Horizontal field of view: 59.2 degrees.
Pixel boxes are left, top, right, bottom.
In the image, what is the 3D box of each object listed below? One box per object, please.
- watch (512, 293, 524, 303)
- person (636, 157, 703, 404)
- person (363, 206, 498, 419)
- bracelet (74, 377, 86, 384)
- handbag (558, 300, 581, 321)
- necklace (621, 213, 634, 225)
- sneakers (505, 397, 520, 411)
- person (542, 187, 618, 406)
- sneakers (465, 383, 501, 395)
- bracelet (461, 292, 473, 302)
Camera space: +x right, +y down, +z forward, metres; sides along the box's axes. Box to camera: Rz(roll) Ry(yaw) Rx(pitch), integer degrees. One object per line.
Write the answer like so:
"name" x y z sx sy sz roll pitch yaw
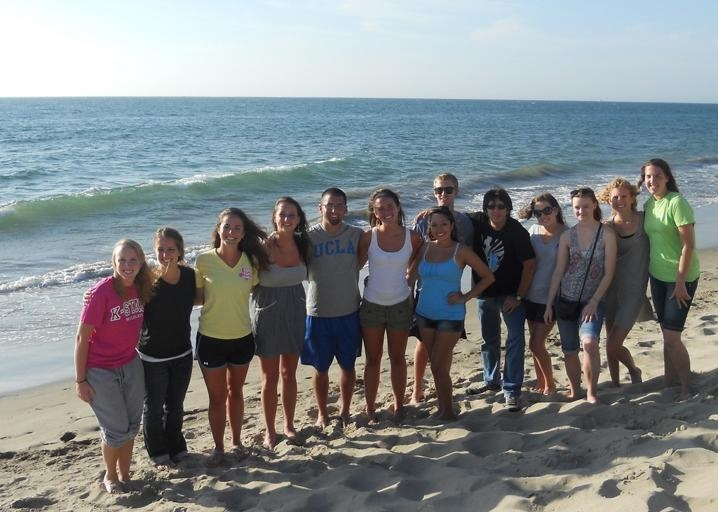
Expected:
"watch" 1.775 0.463 6.978 0.085 0.070 0.042 -4 10 13
"person" 3.320 0.210 6.637 0.464 2.455 0.616 -6 10 6
"person" 0.995 0.614 6.752 0.750 2.273 0.488 -6 10 10
"bracelet" -2.562 1.133 5.796 0.108 0.060 0.051 -4 10 14
"handbag" 2.265 0.574 6.734 0.233 0.221 0.124 1 6 23
"necklace" 2.904 -0.400 6.804 0.117 0.108 0.102 -27 8 37
"sneakers" 1.692 1.614 6.899 0.137 0.119 0.131 2 -13 -23
"person" 2.364 0.424 6.751 0.604 2.241 0.591 -16 13 -39
"sneakers" 1.486 1.576 7.495 0.442 0.180 0.149 6 -6 2
"bracelet" 1.156 0.425 6.672 0.092 0.108 0.108 -2 -10 1
